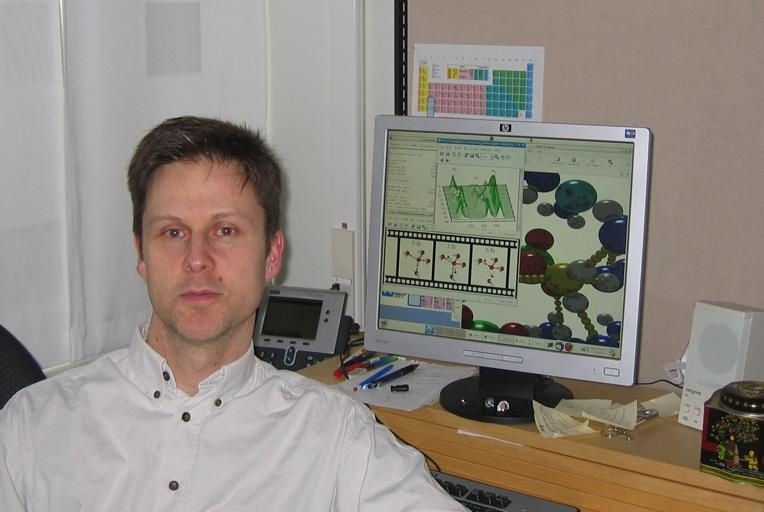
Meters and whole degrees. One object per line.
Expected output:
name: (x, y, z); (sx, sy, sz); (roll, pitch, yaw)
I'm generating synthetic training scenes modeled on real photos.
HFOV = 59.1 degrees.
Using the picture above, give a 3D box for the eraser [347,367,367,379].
eraser: (-0.071, 0.337, 1.939); (0.044, 0.013, 0.024); (-29, 45, -29)

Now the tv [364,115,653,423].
tv: (0.332, 0.031, 1.759); (0.783, 0.724, 0.298); (5, 8, 24)
